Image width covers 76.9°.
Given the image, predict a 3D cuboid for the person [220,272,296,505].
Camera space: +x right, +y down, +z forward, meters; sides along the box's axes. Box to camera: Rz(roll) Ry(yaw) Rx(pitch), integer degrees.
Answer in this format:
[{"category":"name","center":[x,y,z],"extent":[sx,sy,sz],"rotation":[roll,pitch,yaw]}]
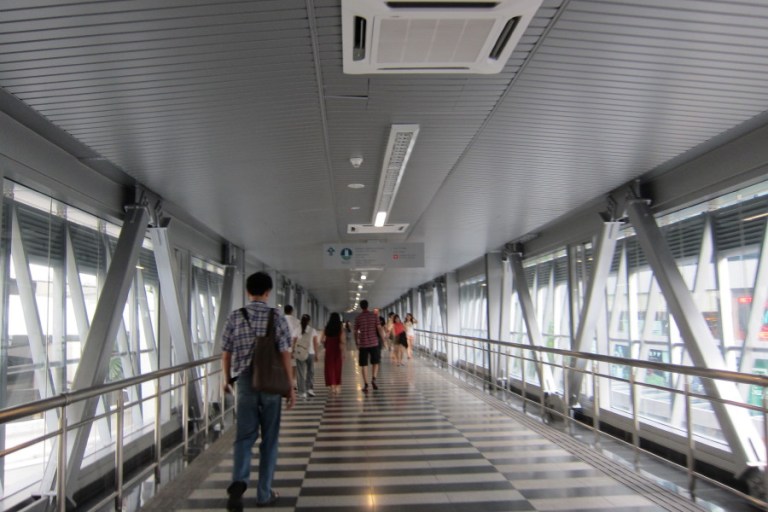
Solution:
[{"category":"person","center":[-1.219,1.308,4.662],"extent":[0.677,2.308,0.661],"rotation":[1,-5,-18]}]

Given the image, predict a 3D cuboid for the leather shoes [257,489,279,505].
[{"category":"leather shoes","center":[-1.164,2.441,4.889],"extent":[0.083,0.076,0.187],"rotation":[3,-4,29]}]

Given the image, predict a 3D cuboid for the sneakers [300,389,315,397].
[{"category":"sneakers","center":[-1.726,3.162,11.021],"extent":[0.168,0.121,0.373],"rotation":[-15,-12,6]}]

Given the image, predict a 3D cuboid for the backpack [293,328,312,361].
[{"category":"backpack","center":[-1.811,2.029,10.671],"extent":[0.390,0.574,0.588],"rotation":[16,-6,5]}]

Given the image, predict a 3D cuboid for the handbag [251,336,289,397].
[{"category":"handbag","center":[-1.098,1.071,4.582],"extent":[0.479,0.576,0.244],"rotation":[12,-30,-42]}]
